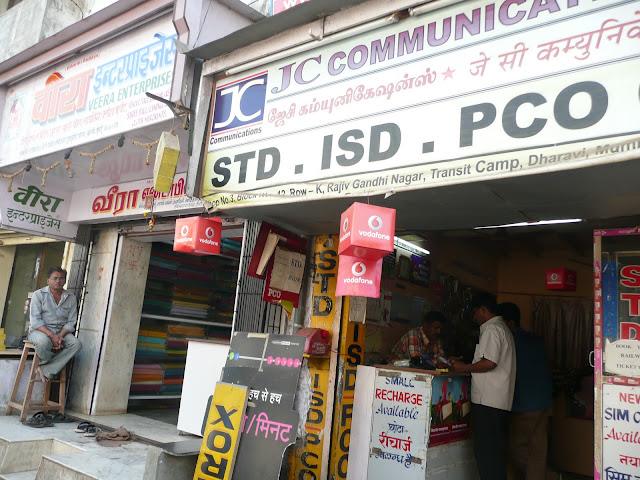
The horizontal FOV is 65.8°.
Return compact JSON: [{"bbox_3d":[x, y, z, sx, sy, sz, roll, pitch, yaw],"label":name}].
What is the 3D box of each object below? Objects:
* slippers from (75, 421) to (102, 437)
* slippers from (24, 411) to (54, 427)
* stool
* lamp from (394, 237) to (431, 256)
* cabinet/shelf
[{"bbox_3d":[-3.126,2.477,6.667,0.180,0.070,0.232,7,-10,2],"label":"slippers"},{"bbox_3d":[-3.895,2.400,6.874,0.205,0.141,0.321,7,-18,-7],"label":"slippers"},{"bbox_3d":[-4.263,2.041,7.520,0.759,1.072,1.104,11,-13,-30],"label":"stool"},{"bbox_3d":[1.189,0.073,6.448,0.439,0.102,0.309,14,2,-38],"label":"lamp"},{"bbox_3d":[-2.417,1.401,8.912,1.597,2.629,0.457,10,-13,-26],"label":"cabinet/shelf"}]
